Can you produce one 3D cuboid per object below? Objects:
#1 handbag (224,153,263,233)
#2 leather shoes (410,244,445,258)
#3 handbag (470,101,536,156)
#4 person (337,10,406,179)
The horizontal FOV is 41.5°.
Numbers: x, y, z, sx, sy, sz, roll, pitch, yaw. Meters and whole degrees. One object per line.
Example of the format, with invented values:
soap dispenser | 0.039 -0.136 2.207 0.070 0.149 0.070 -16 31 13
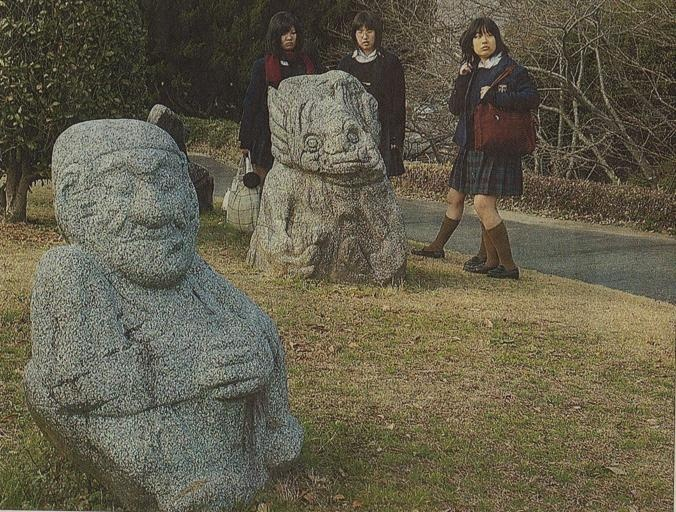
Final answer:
handbag | -0.767 -0.522 7.465 0.283 0.790 0.525 3 6 -22
leather shoes | 0.764 -0.036 7.595 0.280 0.114 0.113 7 2 19
handbag | 1.214 -0.954 6.598 0.287 0.338 0.129 10 31 4
person | 0.308 -1.312 7.242 0.587 1.236 0.275 3 7 -25
